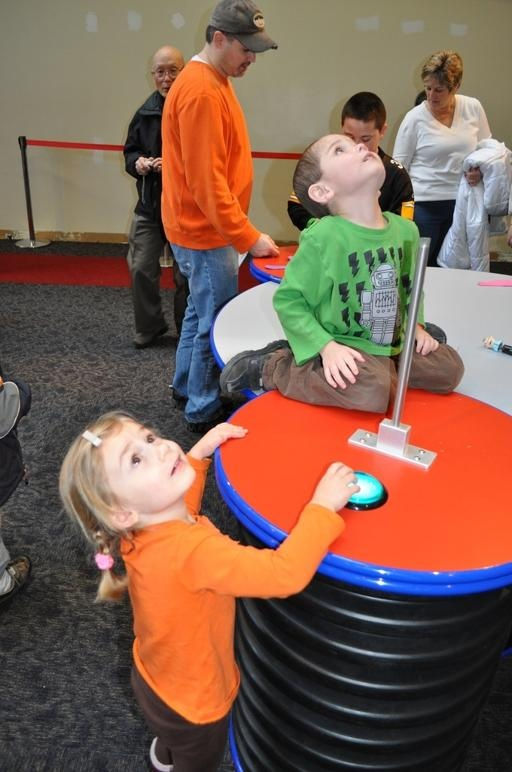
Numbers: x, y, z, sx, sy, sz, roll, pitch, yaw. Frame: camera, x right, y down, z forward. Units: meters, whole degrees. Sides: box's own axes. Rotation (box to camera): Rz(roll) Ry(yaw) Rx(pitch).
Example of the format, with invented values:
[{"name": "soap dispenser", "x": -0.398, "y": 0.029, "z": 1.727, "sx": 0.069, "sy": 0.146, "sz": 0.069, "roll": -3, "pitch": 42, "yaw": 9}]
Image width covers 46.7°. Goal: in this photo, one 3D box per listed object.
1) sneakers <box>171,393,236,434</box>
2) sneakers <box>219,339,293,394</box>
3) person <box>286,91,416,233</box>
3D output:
[{"name": "sneakers", "x": -0.202, "y": 0.108, "z": 2.297, "sx": 0.187, "sy": 0.131, "sz": 0.061, "roll": -15, "pitch": 55, "yaw": -7}, {"name": "sneakers", "x": -0.002, "y": -0.041, "z": 1.399, "sx": 0.154, "sy": 0.097, "sz": 0.052, "roll": -28, "pitch": -7, "yaw": -12}, {"name": "person", "x": 0.408, "y": -0.881, "z": 2.591, "sx": 0.531, "sy": 0.728, "sz": 0.425, "roll": -3, "pitch": 55, "yaw": 2}]
